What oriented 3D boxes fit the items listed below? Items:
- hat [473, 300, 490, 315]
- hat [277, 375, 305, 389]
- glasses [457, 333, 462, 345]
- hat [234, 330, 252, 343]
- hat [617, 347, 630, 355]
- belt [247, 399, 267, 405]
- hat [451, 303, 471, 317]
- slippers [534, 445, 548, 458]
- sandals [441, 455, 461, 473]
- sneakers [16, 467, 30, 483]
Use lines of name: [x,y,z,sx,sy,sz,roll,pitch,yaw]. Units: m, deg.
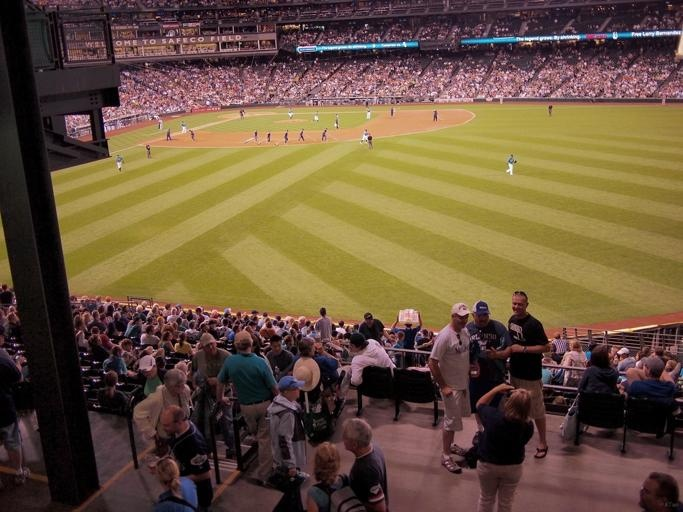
hat: [2.351,0.863,8.776,0.240,0.148,0.306,-2,15,-2]
hat: [-0.769,1.952,7.949,0.401,0.120,0.225,-2,8,-12]
glasses: [1.932,1.365,8.551,0.066,0.178,0.051,-22,-5,14]
hat: [-1.587,1.289,8.432,0.247,0.170,0.260,4,8,-12]
hat: [7.533,2.538,13.879,0.404,0.114,0.225,-4,3,-13]
belt: [-1.356,2.394,8.544,0.279,0.077,0.029,3,10,-13]
hat: [1.904,0.878,8.502,0.262,0.153,0.329,-2,2,-30]
slippers: [3.425,3.336,8.942,0.191,0.180,0.288,10,9,25]
sandals: [1.841,3.452,8.693,0.291,0.249,0.264,5,8,-11]
sneakers: [-5.327,3.656,8.718,0.124,0.117,0.304,4,16,-4]
